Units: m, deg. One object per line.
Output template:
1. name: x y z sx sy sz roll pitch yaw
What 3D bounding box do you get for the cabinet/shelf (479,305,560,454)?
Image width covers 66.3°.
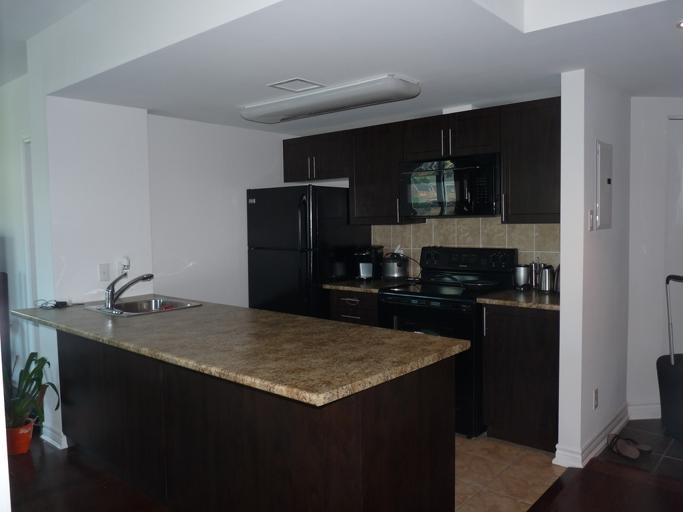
1. cabinet/shelf: 1.341 0.841 3.827 0.603 1.025 0.571 2 3 38

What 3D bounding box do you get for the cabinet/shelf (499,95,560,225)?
1. cabinet/shelf: 1.357 -0.720 3.897 0.474 0.903 0.479 -2 19 12

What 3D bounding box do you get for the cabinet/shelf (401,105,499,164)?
1. cabinet/shelf: 0.848 -1.039 4.165 0.801 0.276 0.391 -4 -35 11

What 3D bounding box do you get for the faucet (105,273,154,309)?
1. faucet: -1.435 0.233 3.550 0.371 0.235 0.082 -11 -5 10

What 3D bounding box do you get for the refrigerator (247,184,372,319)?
1. refrigerator: -0.371 0.008 5.071 1.005 1.426 1.015 -3 14 -14

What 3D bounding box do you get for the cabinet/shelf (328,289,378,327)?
1. cabinet/shelf: 0.134 0.410 4.556 0.466 0.334 0.264 4 19 22

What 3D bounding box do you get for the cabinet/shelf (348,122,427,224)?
1. cabinet/shelf: 0.398 -0.651 4.719 0.492 0.786 0.465 -2 -7 27

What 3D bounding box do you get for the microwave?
1. microwave: 0.868 -0.548 4.075 0.533 0.331 0.190 1 0 37

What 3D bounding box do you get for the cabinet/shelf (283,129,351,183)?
1. cabinet/shelf: -0.231 -0.925 5.102 0.877 0.434 0.313 -1 0 25

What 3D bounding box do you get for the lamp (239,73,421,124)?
1. lamp: -0.039 -0.954 3.179 1.143 0.156 0.355 0 18 32

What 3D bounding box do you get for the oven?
1. oven: 0.615 0.802 4.299 0.881 1.261 0.863 1 0 37

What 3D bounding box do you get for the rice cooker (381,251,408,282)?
1. rice cooker: 0.484 0.115 4.718 0.190 0.220 0.243 -3 4 -33

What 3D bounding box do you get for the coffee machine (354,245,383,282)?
1. coffee machine: 0.254 0.081 4.944 0.218 0.320 0.320 4 4 33

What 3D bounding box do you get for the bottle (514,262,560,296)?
1. bottle: 1.454 0.170 3.891 0.164 0.174 0.332 0 3 -23
